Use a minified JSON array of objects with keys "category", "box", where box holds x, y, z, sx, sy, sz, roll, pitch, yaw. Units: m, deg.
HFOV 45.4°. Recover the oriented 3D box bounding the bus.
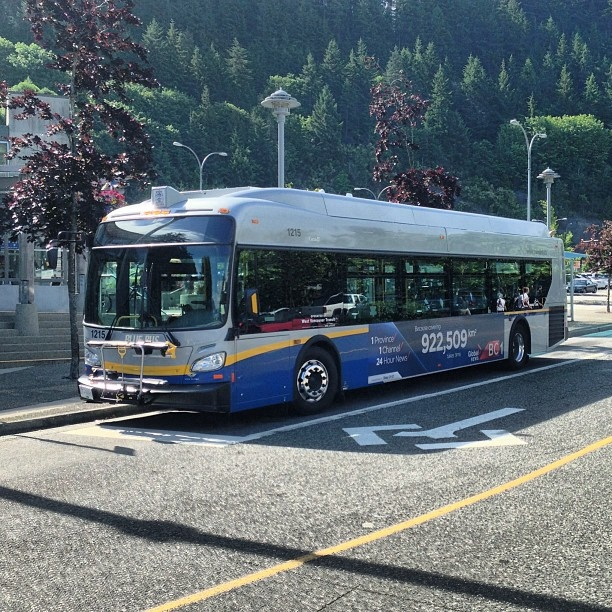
[{"category":"bus","box":[1.588,-0.075,15.223,3.281,3.501,13.822,-1,-2,36]}]
